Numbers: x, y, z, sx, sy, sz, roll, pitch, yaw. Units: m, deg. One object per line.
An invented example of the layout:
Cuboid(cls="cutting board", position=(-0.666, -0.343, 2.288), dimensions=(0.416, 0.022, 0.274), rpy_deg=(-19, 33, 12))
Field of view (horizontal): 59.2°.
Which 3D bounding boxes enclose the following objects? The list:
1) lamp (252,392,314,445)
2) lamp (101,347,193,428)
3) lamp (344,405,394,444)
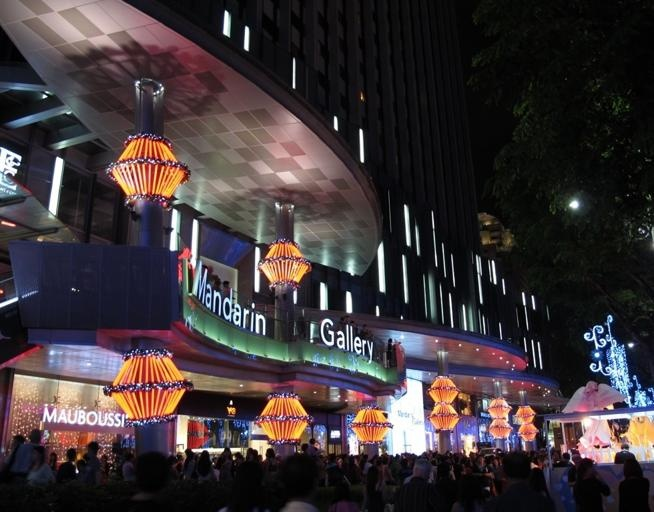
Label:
Cuboid(cls="lamp", position=(-1.607, 6.058, 21.430), dimensions=(1.892, 1.763, 1.823), rpy_deg=(12, -21, -38))
Cuboid(cls="lamp", position=(-4.742, 3.515, 15.506), dimensions=(2.081, 1.827, 2.184), rpy_deg=(-1, -12, -17))
Cuboid(cls="lamp", position=(2.038, 7.792, 26.525), dimensions=(1.682, 1.573, 1.711), rpy_deg=(-4, -20, 14))
